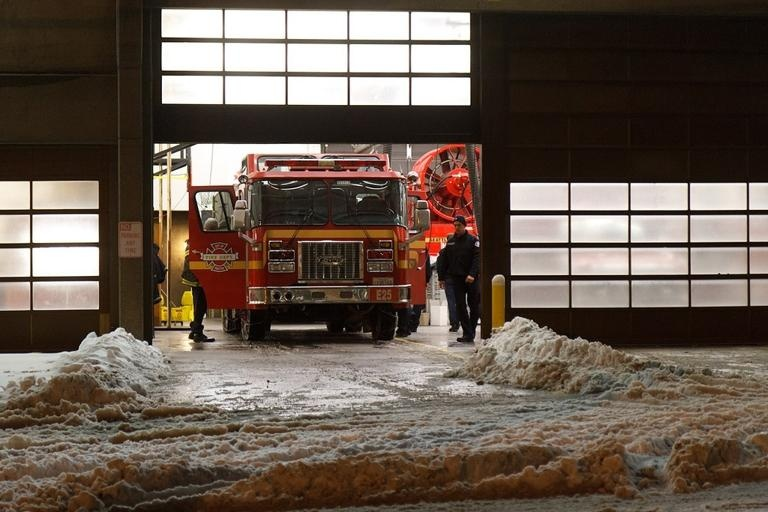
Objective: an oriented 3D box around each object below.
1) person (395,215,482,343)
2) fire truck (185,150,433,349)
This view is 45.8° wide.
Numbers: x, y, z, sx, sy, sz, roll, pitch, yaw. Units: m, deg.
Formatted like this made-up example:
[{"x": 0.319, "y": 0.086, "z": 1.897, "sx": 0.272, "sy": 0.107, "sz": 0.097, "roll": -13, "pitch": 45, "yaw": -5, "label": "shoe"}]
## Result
[{"x": 1.578, "y": 0.483, "z": 20.431, "sx": 1.060, "sy": 3.378, "sz": 1.349, "roll": 0, "pitch": -1, "yaw": 26, "label": "person"}, {"x": -1.587, "y": -0.126, "z": 19.594, "sx": 4.892, "sy": 4.032, "sz": 2.435, "roll": 0, "pitch": 8, "yaw": 1, "label": "fire truck"}]
